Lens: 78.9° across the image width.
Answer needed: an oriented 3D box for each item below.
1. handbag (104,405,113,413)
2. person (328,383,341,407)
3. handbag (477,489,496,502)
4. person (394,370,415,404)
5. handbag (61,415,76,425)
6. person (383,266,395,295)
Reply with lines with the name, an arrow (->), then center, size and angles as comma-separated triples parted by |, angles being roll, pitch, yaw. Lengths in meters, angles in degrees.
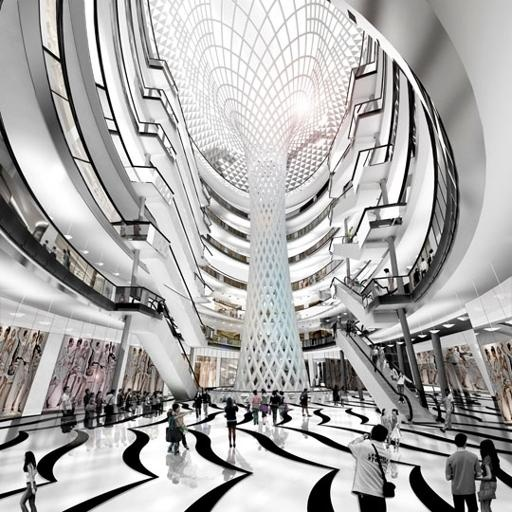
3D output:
handbag -> -4.063, 4.231, 8.602 | 0.041, 0.227, 0.196 | -4, -18, 21
person -> 3.798, 6.616, 14.797 | 0.337, 0.838, 1.158 | -9, -26, 17
handbag -> 2.048, 2.138, 2.783 | 0.136, 0.095, 0.112 | -19, -29, 29
person -> 4.253, 3.798, 9.192 | 0.558, 0.975, 0.920 | -18, -28, 32
handbag -> -4.591, 4.030, 7.679 | 0.209, 0.221, 0.347 | 3, -26, -23
person -> 4.865, 0.913, 11.447 | 0.275, 1.099, 0.423 | 2, -23, 10
